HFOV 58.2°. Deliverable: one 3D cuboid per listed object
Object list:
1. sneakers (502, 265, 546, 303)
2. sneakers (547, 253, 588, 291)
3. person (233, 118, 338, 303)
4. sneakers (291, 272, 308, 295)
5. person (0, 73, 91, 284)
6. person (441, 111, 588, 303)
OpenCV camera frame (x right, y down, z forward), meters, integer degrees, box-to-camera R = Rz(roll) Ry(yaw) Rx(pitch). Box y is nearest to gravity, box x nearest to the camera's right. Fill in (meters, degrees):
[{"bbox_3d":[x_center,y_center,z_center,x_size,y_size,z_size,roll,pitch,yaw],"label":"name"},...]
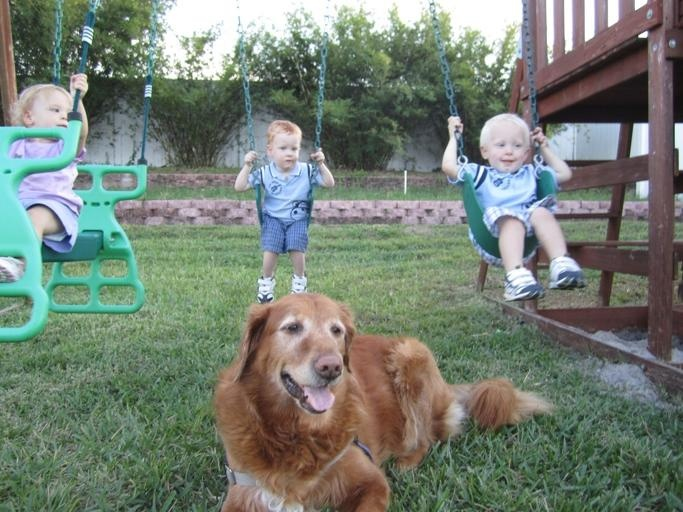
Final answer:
[{"bbox_3d":[1.219,0.198,4.199,0.130,0.177,0.344,0,-8,-2],"label":"sneakers"},{"bbox_3d":[1.512,0.129,4.121,0.203,0.235,0.279,3,8,17],"label":"sneakers"},{"bbox_3d":[-0.525,-0.407,5.679,0.807,1.760,0.497,-2,26,-8],"label":"person"},{"bbox_3d":[-0.358,0.250,5.404,0.115,0.194,0.382,1,-6,-1],"label":"sneakers"},{"bbox_3d":[-1.972,-0.553,4.114,0.525,1.266,1.046,-3,8,-23],"label":"person"},{"bbox_3d":[1.275,-0.315,4.504,0.936,1.482,1.201,-1,7,-11],"label":"person"}]
